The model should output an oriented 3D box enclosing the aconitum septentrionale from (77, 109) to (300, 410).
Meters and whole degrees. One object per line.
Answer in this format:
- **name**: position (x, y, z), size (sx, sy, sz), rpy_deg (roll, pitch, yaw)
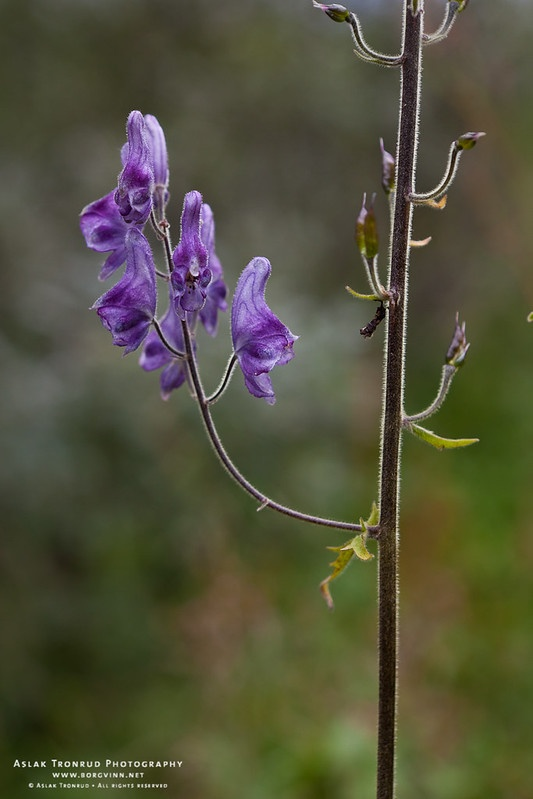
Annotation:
- **aconitum septentrionale**: position (-0.118, -0.158, 1.419), size (0.431, 0.374, 0.586), rpy_deg (0, 82, 2)
